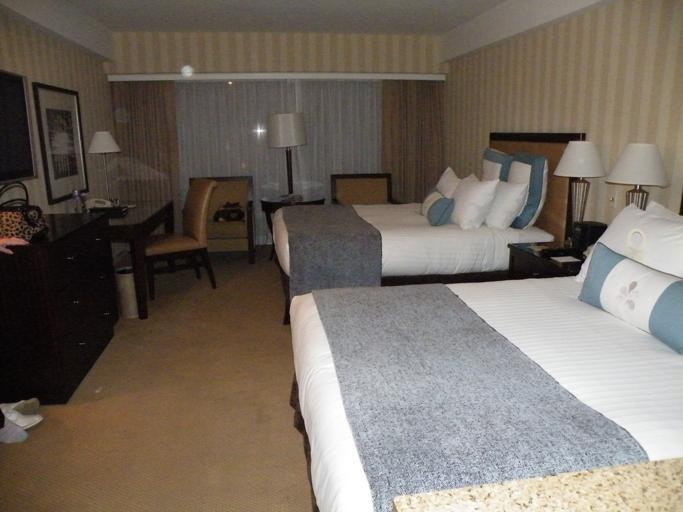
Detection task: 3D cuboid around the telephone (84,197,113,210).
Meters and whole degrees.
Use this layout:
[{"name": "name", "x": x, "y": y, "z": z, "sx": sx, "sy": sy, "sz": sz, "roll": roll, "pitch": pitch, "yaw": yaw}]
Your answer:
[{"name": "telephone", "x": -2.493, "y": -0.534, "z": 4.773, "sx": 0.245, "sy": 0.088, "sz": 0.169, "roll": 0, "pitch": 3, "yaw": -5}]

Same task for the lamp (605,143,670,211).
[{"name": "lamp", "x": 2.022, "y": -0.470, "z": 3.193, "sx": 0.388, "sy": 0.559, "sz": 0.359, "roll": 7, "pitch": 11, "yaw": 31}]

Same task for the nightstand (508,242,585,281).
[{"name": "nightstand", "x": 1.708, "y": -0.002, "z": 3.707, "sx": 0.446, "sy": 0.300, "sz": 0.644, "roll": -12, "pitch": 7, "yaw": -27}]

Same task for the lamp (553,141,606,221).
[{"name": "lamp", "x": 1.853, "y": -0.528, "z": 3.690, "sx": 0.358, "sy": 0.592, "sz": 0.351, "roll": -1, "pitch": -1, "yaw": 23}]

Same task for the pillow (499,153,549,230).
[{"name": "pillow", "x": 1.797, "y": -0.694, "z": 4.598, "sx": 0.340, "sy": 0.646, "sz": 0.943, "roll": -10, "pitch": 19, "yaw": 10}]

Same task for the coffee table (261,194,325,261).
[{"name": "coffee table", "x": -0.664, "y": -0.362, "z": 6.299, "sx": 0.924, "sy": 0.766, "sz": 0.834, "roll": -1, "pitch": 13, "yaw": -5}]

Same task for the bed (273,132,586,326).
[{"name": "bed", "x": 0.707, "y": -0.245, "z": 4.659, "sx": 2.400, "sy": 1.495, "sz": 1.928, "roll": -1, "pitch": 15, "yaw": -2}]

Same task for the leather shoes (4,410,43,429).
[{"name": "leather shoes", "x": -1.930, "y": 0.994, "z": 2.824, "sx": 0.169, "sy": 0.049, "sz": 0.118, "roll": 11, "pitch": 29, "yaw": -5}]

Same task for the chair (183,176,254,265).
[{"name": "chair", "x": -1.655, "y": -0.484, "z": 6.351, "sx": 1.105, "sy": 1.253, "sz": 1.048, "roll": -3, "pitch": 7, "yaw": 6}]

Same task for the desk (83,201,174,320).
[{"name": "desk", "x": -1.975, "y": 0.048, "z": 4.318, "sx": 0.388, "sy": 0.568, "sz": 1.168, "roll": -3, "pitch": 18, "yaw": -6}]

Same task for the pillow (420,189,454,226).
[{"name": "pillow", "x": 0.920, "y": -0.483, "z": 4.780, "sx": 0.246, "sy": 0.256, "sz": 0.826, "roll": -10, "pitch": 11, "yaw": -3}]
